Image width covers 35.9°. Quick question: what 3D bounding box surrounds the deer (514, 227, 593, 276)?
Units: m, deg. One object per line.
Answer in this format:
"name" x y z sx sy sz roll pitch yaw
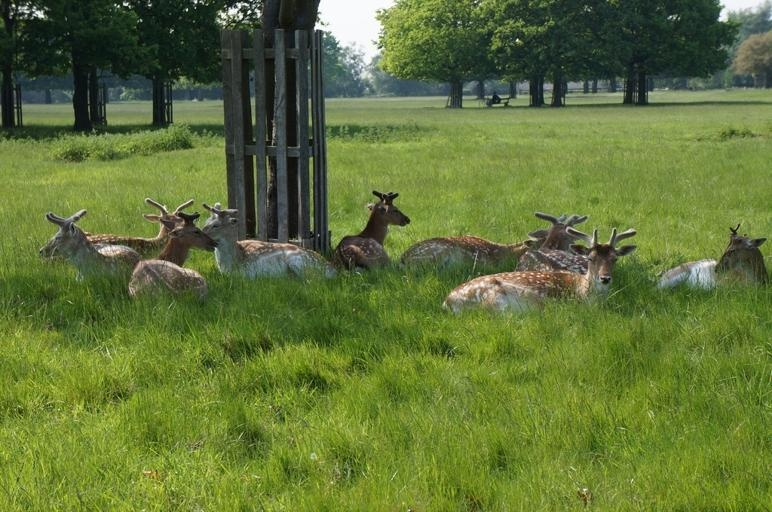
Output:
"deer" 4.884 0.104 34.862 1.935 1.124 1.736 -17 -30 -6

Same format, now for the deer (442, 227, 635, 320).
"deer" 4.488 1.055 34.201 5.432 3.634 1.783 -3 -8 -1

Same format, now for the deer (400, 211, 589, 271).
"deer" 3.128 0.063 35.959 5.283 3.465 1.686 5 -6 -3

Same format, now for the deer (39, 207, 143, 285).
"deer" -8.393 0.105 34.804 3.443 2.923 1.282 3 10 -31

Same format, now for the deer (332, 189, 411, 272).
"deer" -0.402 -0.686 35.927 2.589 2.869 1.579 -25 21 -36

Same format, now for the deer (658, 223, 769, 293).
"deer" 9.527 0.121 35.366 3.320 2.802 1.551 -11 -4 9

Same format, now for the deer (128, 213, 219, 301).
"deer" -6.103 -0.013 33.970 2.368 2.261 1.248 -3 12 -12

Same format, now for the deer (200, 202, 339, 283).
"deer" -3.294 -0.213 35.755 4.160 2.932 1.838 3 2 3
